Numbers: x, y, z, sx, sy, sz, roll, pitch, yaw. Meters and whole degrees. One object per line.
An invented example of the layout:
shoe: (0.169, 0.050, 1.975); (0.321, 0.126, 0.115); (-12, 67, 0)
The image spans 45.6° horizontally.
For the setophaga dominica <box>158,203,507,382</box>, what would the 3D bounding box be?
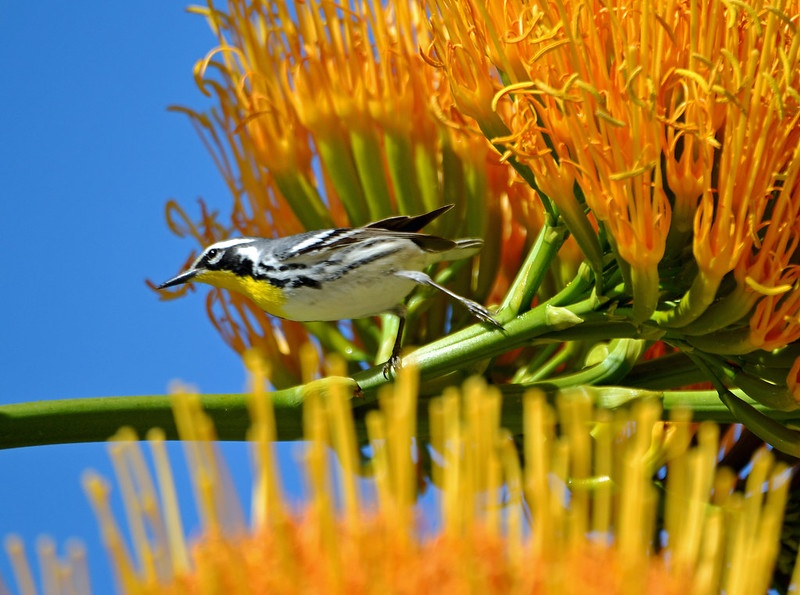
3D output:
setophaga dominica: (-0.063, -0.039, 1.179); (0.361, 0.201, 0.126); (-29, -17, -28)
